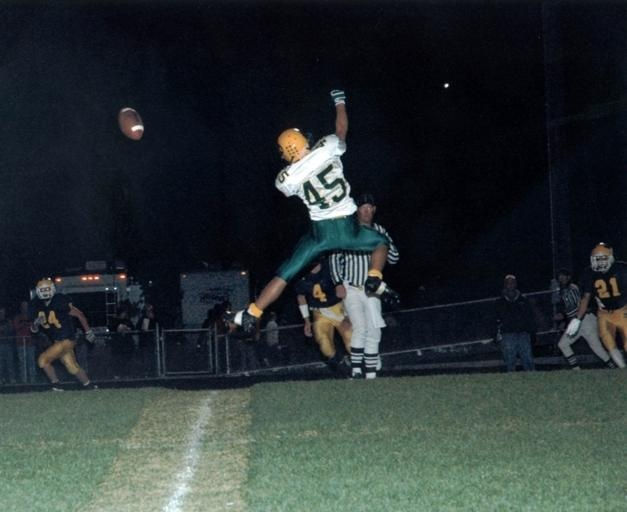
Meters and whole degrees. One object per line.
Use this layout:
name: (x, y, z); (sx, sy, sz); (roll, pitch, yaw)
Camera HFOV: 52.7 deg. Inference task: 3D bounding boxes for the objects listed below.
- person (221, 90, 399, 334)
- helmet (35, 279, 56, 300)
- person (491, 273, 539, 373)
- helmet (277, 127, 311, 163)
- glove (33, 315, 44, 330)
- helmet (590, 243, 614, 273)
person: (0.000, -0.528, 6.054); (1.332, 2.246, 0.618); (-6, -4, 7)
helmet: (-3.937, 0.483, 9.309); (0.260, 0.323, 0.347); (-3, -5, -26)
person: (2.948, 0.972, 9.198); (0.549, 1.005, 0.379); (-6, -4, 16)
helmet: (-0.173, -1.040, 5.937); (0.287, 0.349, 0.278); (-5, -4, -2)
glove: (-4.022, 0.979, 9.228); (0.144, 0.200, 0.415); (-3, -5, -25)
helmet: (3.798, 0.027, 8.295); (0.297, 0.316, 0.317); (-7, -5, 24)
